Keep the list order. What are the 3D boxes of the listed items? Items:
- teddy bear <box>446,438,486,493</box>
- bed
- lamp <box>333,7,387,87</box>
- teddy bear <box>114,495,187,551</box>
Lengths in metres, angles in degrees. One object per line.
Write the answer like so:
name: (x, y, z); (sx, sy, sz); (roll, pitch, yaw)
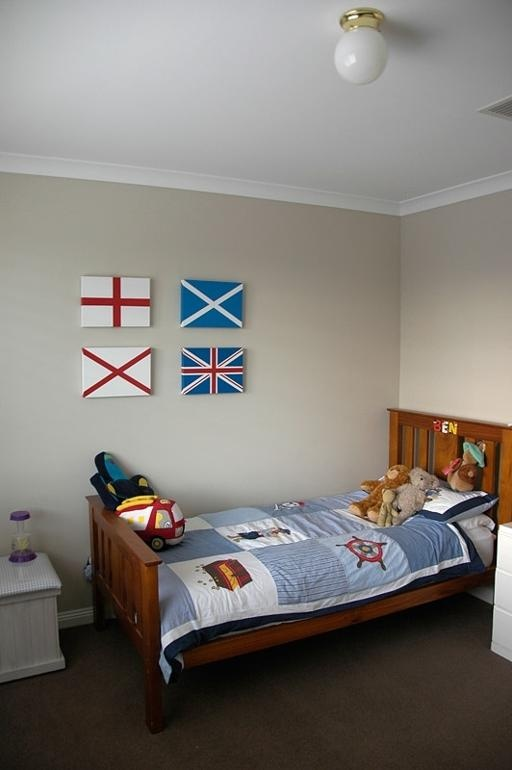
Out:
teddy bear: (1.153, 0.443, 3.256); (0.157, 0.291, 0.171); (5, 13, -29)
bed: (0.241, 0.591, 2.910); (1.837, 1.001, 1.076); (-5, 9, -26)
lamp: (0.271, -0.883, 1.595); (0.148, 0.172, 0.144); (0, 2, -18)
teddy bear: (-0.484, 0.612, 2.688); (0.341, 0.218, 0.186); (0, 5, 16)
